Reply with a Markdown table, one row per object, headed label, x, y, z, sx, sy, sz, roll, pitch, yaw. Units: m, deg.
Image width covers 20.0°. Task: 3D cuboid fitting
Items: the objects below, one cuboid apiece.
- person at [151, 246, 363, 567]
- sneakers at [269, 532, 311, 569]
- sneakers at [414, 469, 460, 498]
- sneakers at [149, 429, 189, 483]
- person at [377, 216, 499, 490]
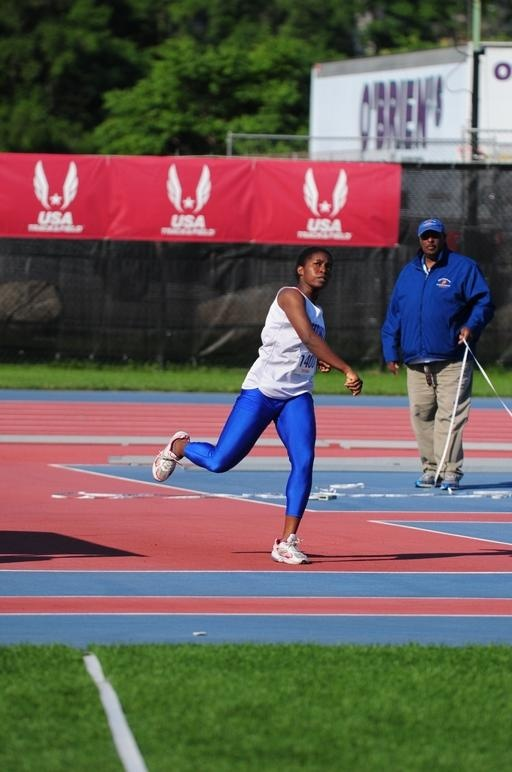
| label | x | y | z | sx | sy | sz | roll | pitch | yaw |
| --- | --- | --- | --- | --- | --- | --- | --- | --- | --- |
| person | 0.103 | 0.082 | 6.888 | 0.472 | 1.489 | 1.281 | -3 | 8 | -33 |
| sneakers | 0.198 | 0.764 | 6.762 | 0.227 | 0.155 | 0.088 | 3 | 3 | 31 |
| sneakers | 1.225 | 0.644 | 9.609 | 0.136 | 0.131 | 0.276 | 1 | -12 | 18 |
| sneakers | -0.532 | 0.441 | 8.990 | 0.127 | 0.372 | 0.159 | 31 | -1 | -27 |
| person | 1.177 | -0.195 | 9.432 | 0.591 | 1.775 | 0.847 | 0 | 7 | -9 |
